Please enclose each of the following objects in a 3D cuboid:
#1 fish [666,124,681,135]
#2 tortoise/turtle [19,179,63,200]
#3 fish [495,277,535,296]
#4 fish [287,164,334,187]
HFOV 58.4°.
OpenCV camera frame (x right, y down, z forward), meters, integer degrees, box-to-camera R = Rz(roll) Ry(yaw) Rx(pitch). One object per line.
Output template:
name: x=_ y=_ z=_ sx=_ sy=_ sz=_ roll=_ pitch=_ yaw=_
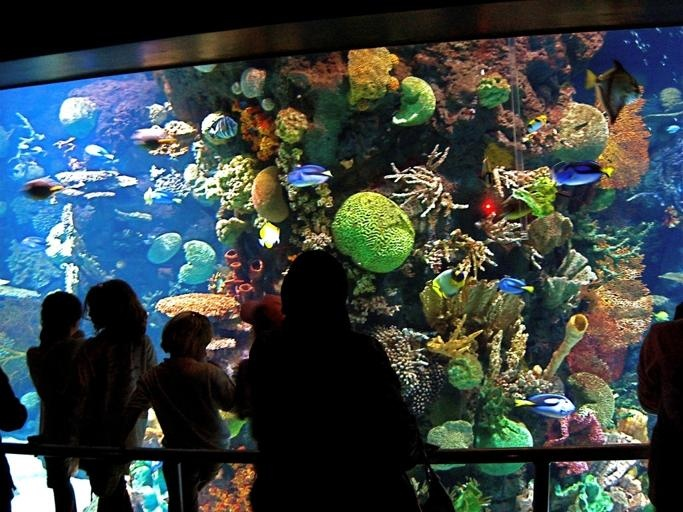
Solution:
fish: x=6.491 y=-2.482 z=11.918 sx=0.259 sy=0.177 sz=0.228 roll=-5 pitch=3 yaw=26
tortoise/turtle: x=-4.927 y=-1.154 z=10.232 sx=0.607 sy=0.363 sz=0.620 roll=-6 pitch=2 yaw=3
fish: x=2.510 y=0.446 z=8.927 sx=0.407 sy=0.107 sz=0.669 roll=-4 pitch=-4 yaw=-29
fish: x=-0.414 y=-1.125 z=8.367 sx=0.678 sy=0.239 sz=0.205 roll=-3 pitch=4 yaw=39
